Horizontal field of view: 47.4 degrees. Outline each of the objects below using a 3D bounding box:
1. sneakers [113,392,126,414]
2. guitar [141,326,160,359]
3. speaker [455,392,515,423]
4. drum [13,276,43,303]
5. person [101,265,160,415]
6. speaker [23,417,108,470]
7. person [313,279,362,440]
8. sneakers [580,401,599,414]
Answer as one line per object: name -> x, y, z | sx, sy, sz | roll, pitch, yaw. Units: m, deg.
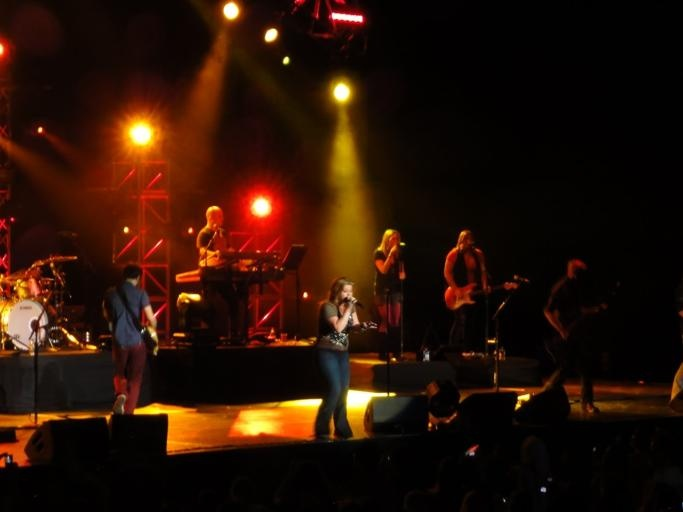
sneakers -> -2.961, 1.961, 10.339 | 0.123, 0.350, 0.142 | 13, -7, -30
guitar -> -2.633, 1.174, 10.818 | 0.240, 0.442, 0.126 | 18, 33, 35
speaker -> 1.825, 1.870, 9.611 | 0.556, 0.381, 0.129 | -5, 8, -14
drum -> -5.087, 0.553, 12.689 | 0.406, 0.457, 0.440 | -4, -4, -5
person -> -2.887, 1.145, 10.518 | 0.711, 1.964, 0.652 | 4, -17, -14
speaker -> -3.124, 2.094, 8.852 | 0.580, 0.522, 0.750 | 1, -7, 36
person -> -0.062, 1.281, 9.796 | 0.615, 2.018, 0.533 | -6, -18, 17
sneakers -> 3.357, 2.054, 10.537 | 0.203, 0.218, 0.132 | -4, -7, 40
